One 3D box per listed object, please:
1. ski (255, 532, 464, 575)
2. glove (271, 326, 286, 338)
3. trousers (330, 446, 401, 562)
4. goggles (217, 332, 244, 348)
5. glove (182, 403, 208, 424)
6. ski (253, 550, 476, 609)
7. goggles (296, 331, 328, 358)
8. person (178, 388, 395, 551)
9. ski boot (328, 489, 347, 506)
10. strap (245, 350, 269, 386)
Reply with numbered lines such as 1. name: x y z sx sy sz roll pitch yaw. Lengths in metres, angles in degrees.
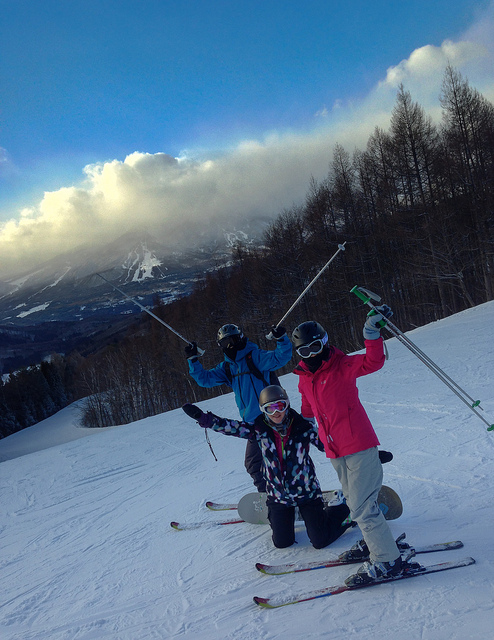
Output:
1. ski: 1.081 2.101 4.928 2.081 0.246 0.241 -2 -9 -12
2. glove: 0.353 0.128 6.150 0.159 0.103 0.227 -13 6 1
3. trousers: 0.975 1.510 4.427 0.373 0.661 0.322 -14 6 6
4. goggles: -0.198 0.244 6.273 0.314 0.129 0.198 -12 6 9
5. glove: -0.504 0.920 5.310 0.196 0.180 0.239 -14 6 -8
6. ski: 0.953 2.149 4.457 1.837 0.260 0.236 -12 6 2
7. goggles: 0.535 0.211 4.533 0.178 0.095 0.247 -22 8 22
8. person: 0.321 1.519 5.436 2.276 1.417 1.123 3 -20 -22
9. ski boot: 0.934 1.827 5.494 0.145 0.158 0.416 -11 -23 10
10. strap: 0.131 0.516 6.016 0.079 0.296 0.296 -34 48 -6
